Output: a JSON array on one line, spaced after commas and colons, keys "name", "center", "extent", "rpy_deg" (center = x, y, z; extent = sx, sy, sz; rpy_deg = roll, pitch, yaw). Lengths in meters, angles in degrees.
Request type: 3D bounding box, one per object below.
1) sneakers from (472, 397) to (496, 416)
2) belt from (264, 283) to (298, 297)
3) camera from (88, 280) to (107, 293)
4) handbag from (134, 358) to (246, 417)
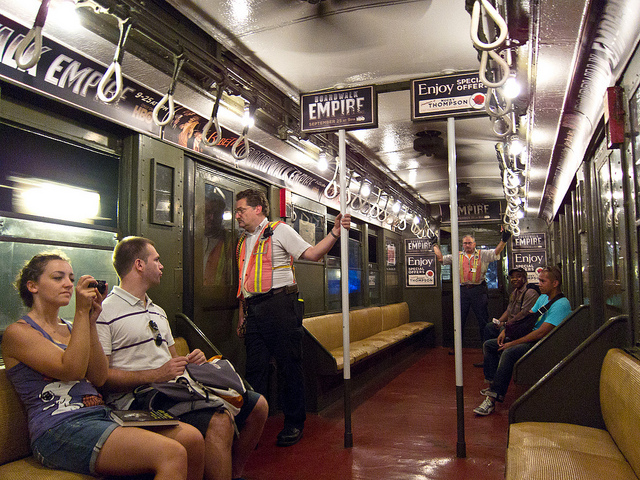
[{"name": "sneakers", "center": [1.972, 1.982, 5.368], "extent": [0.127, 0.155, 0.386], "rpy_deg": [-6, -17, 35]}, {"name": "belt", "center": [-0.360, 0.490, 4.342], "extent": [0.344, 0.117, 0.129], "rpy_deg": [2, -7, -21]}, {"name": "camera", "center": [-1.321, 0.276, 2.684], "extent": [0.064, 0.080, 0.115], "rpy_deg": [-1, -3, 16]}, {"name": "handbag", "center": [-0.840, 1.014, 3.025], "extent": [0.490, 0.255, 0.421], "rpy_deg": [-11, -5, 2]}]
